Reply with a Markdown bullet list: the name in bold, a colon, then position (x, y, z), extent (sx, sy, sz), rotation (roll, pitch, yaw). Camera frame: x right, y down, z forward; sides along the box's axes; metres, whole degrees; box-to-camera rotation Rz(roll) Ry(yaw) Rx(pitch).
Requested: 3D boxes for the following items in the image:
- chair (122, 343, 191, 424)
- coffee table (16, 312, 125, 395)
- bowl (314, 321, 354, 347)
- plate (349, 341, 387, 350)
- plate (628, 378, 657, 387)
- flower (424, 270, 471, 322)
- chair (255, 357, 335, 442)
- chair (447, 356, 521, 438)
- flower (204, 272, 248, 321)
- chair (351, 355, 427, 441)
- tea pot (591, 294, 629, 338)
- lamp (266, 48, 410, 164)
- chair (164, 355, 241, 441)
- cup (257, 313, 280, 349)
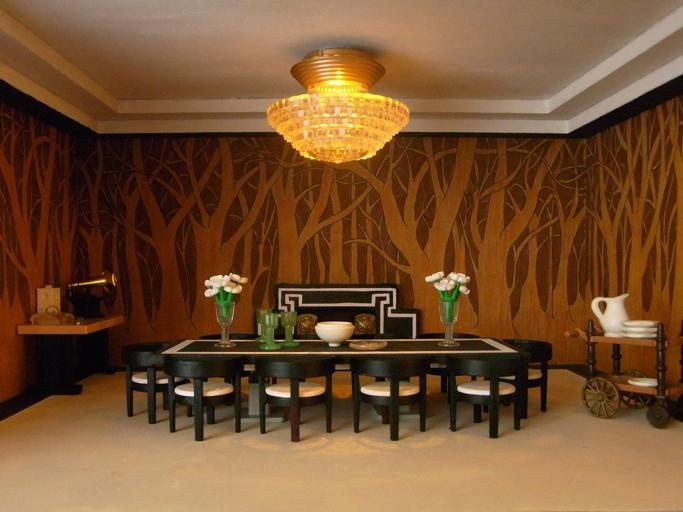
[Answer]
- **chair**: position (-1.722, 1.152, 5.092), extent (0.623, 0.640, 0.559), rotation (-2, 0, 43)
- **coffee table**: position (-3.568, 1.279, 6.885), extent (0.832, 0.817, 2.531), rotation (7, -15, -24)
- **bowl**: position (-0.059, 0.689, 4.887), extent (0.247, 0.139, 0.246), rotation (1, -3, 0)
- **plate**: position (0.232, 0.788, 4.808), extent (0.316, 0.063, 0.192), rotation (0, 4, 1)
- **plate**: position (2.740, 1.142, 4.987), extent (0.224, 0.034, 0.220), rotation (2, 5, 28)
- **flower**: position (0.975, 0.420, 5.005), extent (0.344, 0.369, 0.319), rotation (6, -8, -24)
- **chair**: position (-0.424, 1.104, 4.649), extent (0.707, 0.731, 0.678), rotation (0, -1, 10)
- **chair**: position (1.231, 1.176, 4.708), extent (0.622, 0.647, 0.631), rotation (0, -5, 11)
- **flower**: position (-1.024, 0.362, 4.853), extent (0.341, 0.411, 0.280), rotation (-1, 5, -10)
- **chair**: position (0.412, 1.134, 4.688), extent (0.621, 0.673, 0.637), rotation (0, 5, 7)
- **tea pot**: position (2.568, 0.554, 5.216), extent (0.177, 0.397, 0.347), rotation (-3, 6, -29)
- **lamp**: position (-0.007, -1.313, 4.998), extent (1.128, 0.749, 1.128), rotation (-1, -1, 14)
- **chair**: position (-1.178, 1.180, 4.709), extent (0.661, 0.652, 0.631), rotation (1, -3, -22)
- **cup**: position (-0.650, 0.655, 4.905), extent (0.271, 0.313, 0.288), rotation (1, -3, 0)
